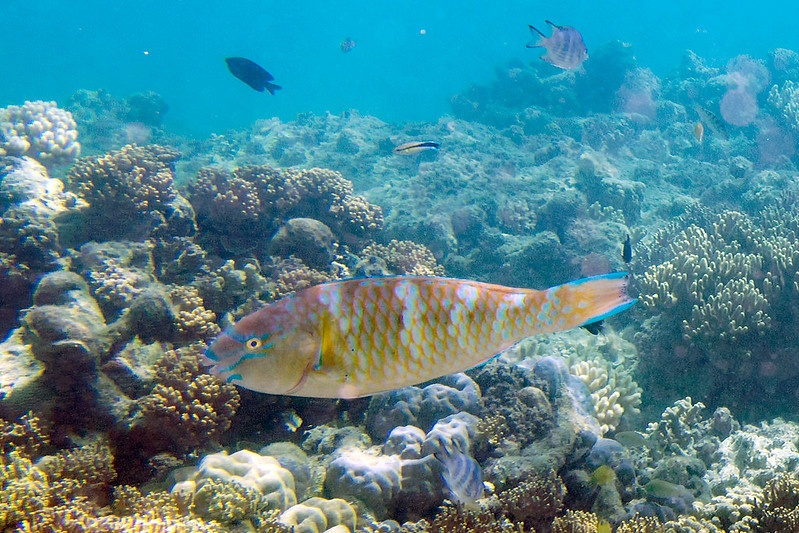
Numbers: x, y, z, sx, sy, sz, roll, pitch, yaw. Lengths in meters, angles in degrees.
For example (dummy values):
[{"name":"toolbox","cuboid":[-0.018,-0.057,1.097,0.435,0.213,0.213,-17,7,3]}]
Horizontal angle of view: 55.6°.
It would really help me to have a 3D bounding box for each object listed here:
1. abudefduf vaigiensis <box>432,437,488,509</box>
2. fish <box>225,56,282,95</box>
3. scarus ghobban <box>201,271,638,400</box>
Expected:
[{"name":"abudefduf vaigiensis","cuboid":[1.070,3.712,13.559,0.575,0.557,1.138,-19,54,-33]},{"name":"fish","cuboid":[-3.394,-4.367,17.429,1.418,0.724,0.494,32,43,14]},{"name":"scarus ghobban","cuboid":[0.386,1.017,12.760,7.415,2.135,2.115,-6,20,-3]}]
